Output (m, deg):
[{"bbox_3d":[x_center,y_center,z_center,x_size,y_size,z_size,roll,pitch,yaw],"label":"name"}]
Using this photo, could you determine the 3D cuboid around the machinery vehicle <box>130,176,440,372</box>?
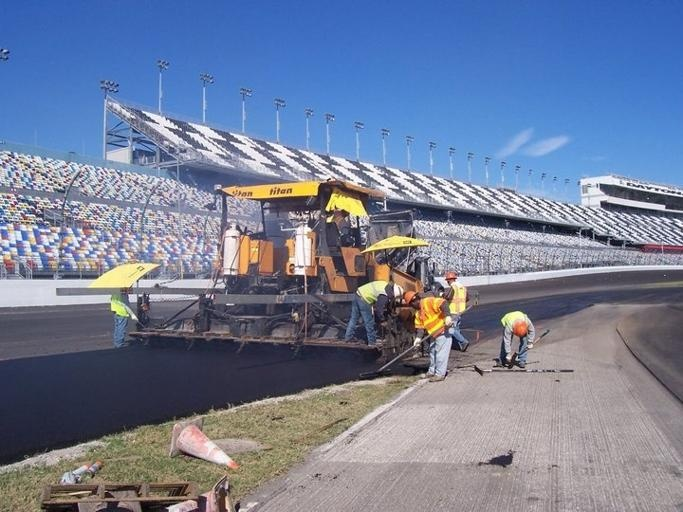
[{"bbox_3d":[-0.608,0.384,14.640,3.941,2.893,5.594,1,2,24],"label":"machinery vehicle"}]

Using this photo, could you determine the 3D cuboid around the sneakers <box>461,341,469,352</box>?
[{"bbox_3d":[2.719,1.987,13.824,0.099,0.124,0.293,1,-43,-10],"label":"sneakers"}]

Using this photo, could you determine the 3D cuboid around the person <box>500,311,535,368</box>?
[{"bbox_3d":[3.404,1.641,12.179,0.511,0.809,1.157,-6,-15,14],"label":"person"}]

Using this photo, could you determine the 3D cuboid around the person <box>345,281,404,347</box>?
[{"bbox_3d":[0.585,1.001,12.077,1.405,1.300,0.795,-5,19,-9],"label":"person"}]

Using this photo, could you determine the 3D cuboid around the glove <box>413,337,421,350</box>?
[{"bbox_3d":[1.380,1.545,11.414,0.183,0.262,0.096,5,-9,2],"label":"glove"}]

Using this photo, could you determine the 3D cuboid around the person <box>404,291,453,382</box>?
[{"bbox_3d":[1.609,1.403,11.392,0.747,1.410,1.175,1,2,6],"label":"person"}]

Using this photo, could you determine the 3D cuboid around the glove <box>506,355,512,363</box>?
[{"bbox_3d":[3.152,1.895,11.844,0.099,0.148,0.226,2,2,15],"label":"glove"}]

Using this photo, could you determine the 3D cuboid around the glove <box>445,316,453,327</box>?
[{"bbox_3d":[1.912,1.123,11.070,0.107,0.210,0.194,3,2,42],"label":"glove"}]

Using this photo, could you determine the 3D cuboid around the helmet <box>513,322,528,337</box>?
[{"bbox_3d":[3.235,1.288,11.455,0.202,0.281,0.237,7,1,4],"label":"helmet"}]

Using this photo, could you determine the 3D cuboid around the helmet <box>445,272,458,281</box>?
[{"bbox_3d":[2.296,0.399,13.343,0.199,0.140,0.262,-8,11,-25],"label":"helmet"}]
